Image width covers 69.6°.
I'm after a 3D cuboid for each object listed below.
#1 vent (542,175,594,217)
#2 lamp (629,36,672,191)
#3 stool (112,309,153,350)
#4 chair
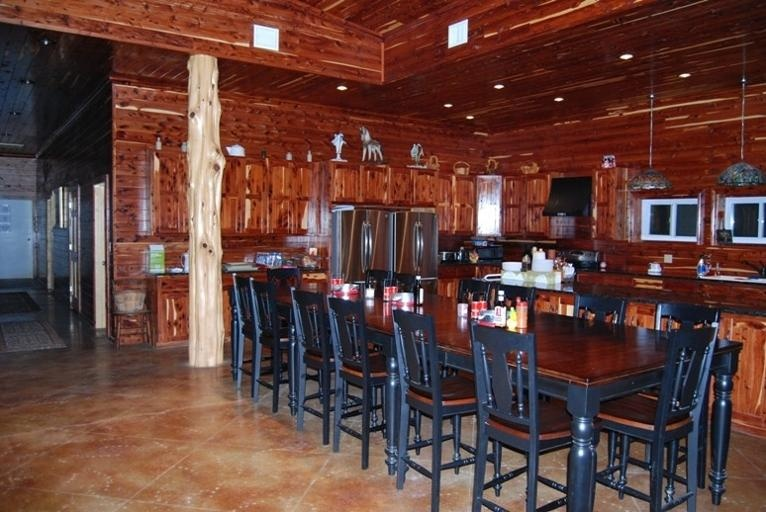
[{"bbox_3d":[3.198,-1.027,9.465,0.378,0.640,0.829,-12,14,-36],"label":"vent"},{"bbox_3d":[3.937,-1.726,8.089,0.526,1.536,2.012,1,3,24],"label":"lamp"},{"bbox_3d":[-3.799,1.083,8.512,0.655,0.511,0.599,-1,6,-28],"label":"stool"},{"bbox_3d":[1.252,1.248,4.658,2.432,1.455,1.666,2,4,45],"label":"chair"}]
